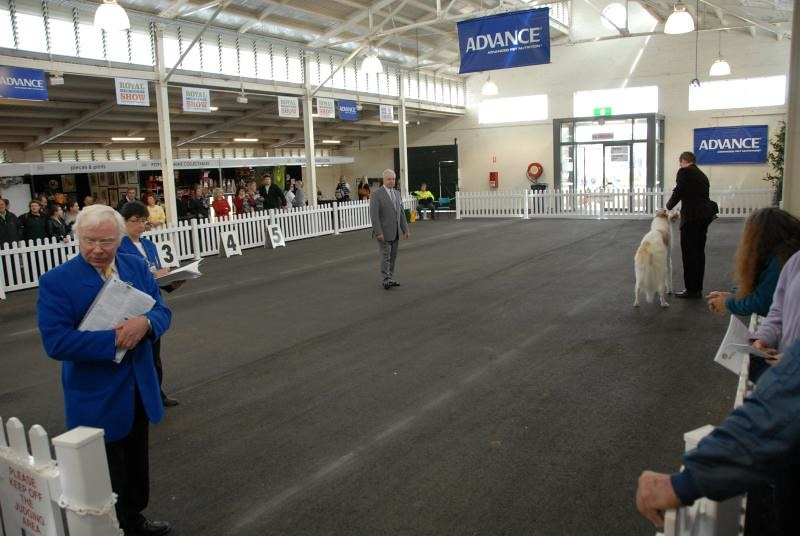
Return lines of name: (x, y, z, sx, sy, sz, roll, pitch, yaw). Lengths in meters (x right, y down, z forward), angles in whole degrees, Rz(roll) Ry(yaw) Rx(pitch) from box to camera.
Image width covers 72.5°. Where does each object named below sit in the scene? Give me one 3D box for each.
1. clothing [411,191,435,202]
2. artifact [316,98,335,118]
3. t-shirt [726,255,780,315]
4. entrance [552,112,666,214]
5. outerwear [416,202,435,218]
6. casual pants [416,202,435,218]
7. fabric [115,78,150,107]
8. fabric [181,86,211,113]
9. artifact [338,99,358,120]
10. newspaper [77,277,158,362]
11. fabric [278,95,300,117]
clothing: (1.003, -3.461, 26.117, 0.870, 0.392, 0.928, 3, 7, 0)
artifact: (-2.983, -6.387, 21.542, 0.586, 0.749, 1.379, -2, 13, 3)
t-shirt: (2.845, 0.147, 4.470, 0.143, 0.450, 0.332, 14, 13, 10)
entrance: (9.836, -4.834, 25.117, 5.334, 5.529, 1.832, 6, 12, 36)
outerwear: (1.189, -2.794, 26.076, 0.638, 0.831, 0.782, 4, 55, 2)
casual pants: (1.198, -2.837, 26.088, 0.638, 0.831, 0.782, 4, 55, 2)
fabric: (-7.506, -4.958, 15.187, 0.088, 0.693, 0.879, 3, 8, 37)
fabric: (-6.369, -5.279, 16.903, 0.094, 0.797, 0.878, 3, 8, 40)
artifact: (-2.196, -6.492, 22.148, 0.439, 0.808, 1.256, 2, 13, 22)
newspaper: (-2.056, 0.323, 3.890, 0.532, 0.557, 0.153, 39, -19, -31)
fabric: (-4.095, -5.880, 19.719, 0.297, 0.683, 0.989, 3, 14, 27)
